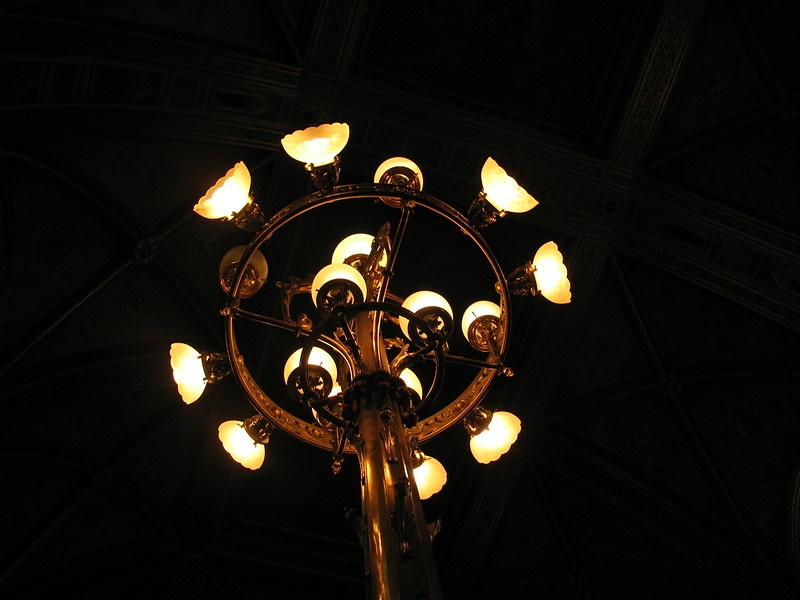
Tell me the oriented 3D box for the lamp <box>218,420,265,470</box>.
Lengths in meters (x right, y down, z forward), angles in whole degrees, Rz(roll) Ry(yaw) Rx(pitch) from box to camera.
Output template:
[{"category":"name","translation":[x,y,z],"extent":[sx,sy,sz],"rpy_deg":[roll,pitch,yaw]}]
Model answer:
[{"category":"lamp","translation":[-1.420,1.305,6.409],"extent":[0.310,0.304,0.498],"rpy_deg":[-25,-83,4]}]

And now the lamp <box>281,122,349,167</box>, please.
[{"category":"lamp","translation":[-0.728,-1.324,6.075],"extent":[0.418,0.429,0.243],"rpy_deg":[-18,-98,-22]}]

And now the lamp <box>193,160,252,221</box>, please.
[{"category":"lamp","translation":[-1.600,-0.870,6.371],"extent":[0.265,0.502,0.502],"rpy_deg":[37,-118,6]}]

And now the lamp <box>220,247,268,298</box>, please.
[{"category":"lamp","translation":[-1.465,-0.287,6.561],"extent":[0.410,0.279,0.477],"rpy_deg":[1,-66,-7]}]

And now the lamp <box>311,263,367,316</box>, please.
[{"category":"lamp","translation":[-0.538,-0.117,5.931],"extent":[0.459,0.487,0.362],"rpy_deg":[-17,-83,3]}]
